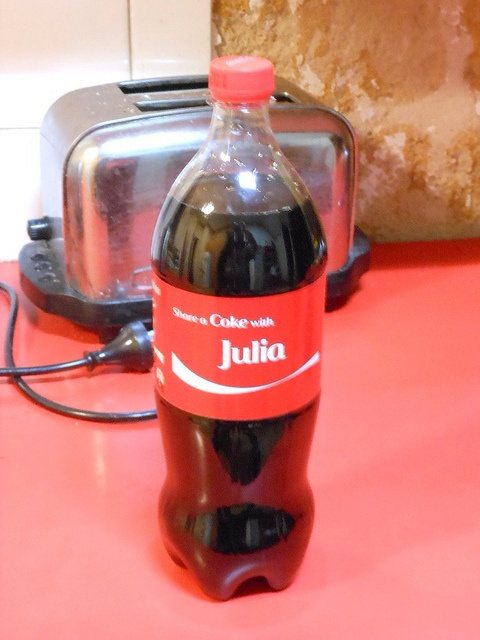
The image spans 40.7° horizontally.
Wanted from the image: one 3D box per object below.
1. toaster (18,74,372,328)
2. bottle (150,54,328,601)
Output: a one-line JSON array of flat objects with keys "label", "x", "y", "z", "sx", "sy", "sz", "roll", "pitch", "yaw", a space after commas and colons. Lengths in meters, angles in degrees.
[{"label": "toaster", "x": -0.053, "y": -0.142, "z": 0.795, "sx": 0.379, "sy": 0.249, "sz": 0.232, "roll": -7, "pitch": 29, "yaw": -25}, {"label": "bottle", "x": -0.002, "y": -0.002, "z": 0.422, "sx": 0.114, "sy": 0.309, "sz": 0.209, "roll": 0, "pitch": 34, "yaw": -1}]
